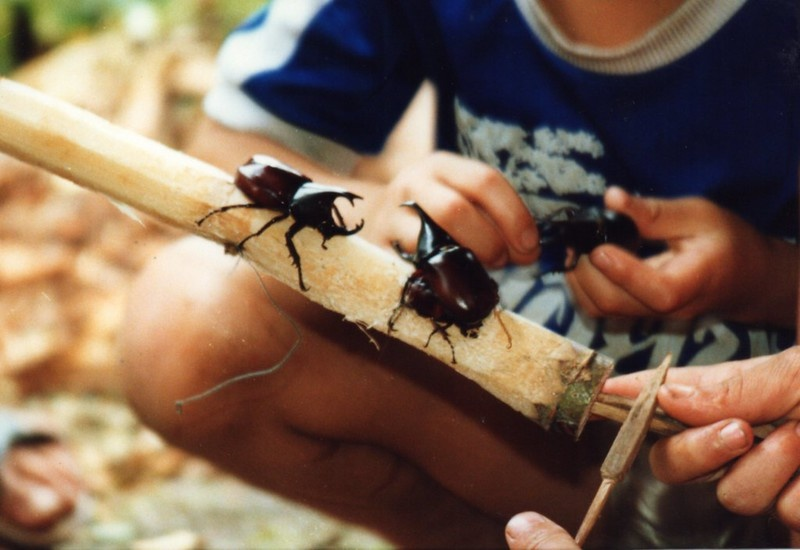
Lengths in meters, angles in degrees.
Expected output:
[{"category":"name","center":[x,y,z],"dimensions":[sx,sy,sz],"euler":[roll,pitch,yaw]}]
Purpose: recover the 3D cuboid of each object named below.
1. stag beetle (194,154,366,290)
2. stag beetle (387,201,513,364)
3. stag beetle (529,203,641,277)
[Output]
[{"category":"stag beetle","center":[-0.180,-0.113,1.380],"dimensions":[0.258,0.126,0.224],"euler":[25,37,16]},{"category":"stag beetle","center":[0.089,0.011,1.364],"dimensions":[0.082,0.214,0.280],"euler":[-49,60,43]},{"category":"stag beetle","center":[0.302,-0.066,1.404],"dimensions":[0.179,0.038,0.096],"euler":[-19,72,5]}]
